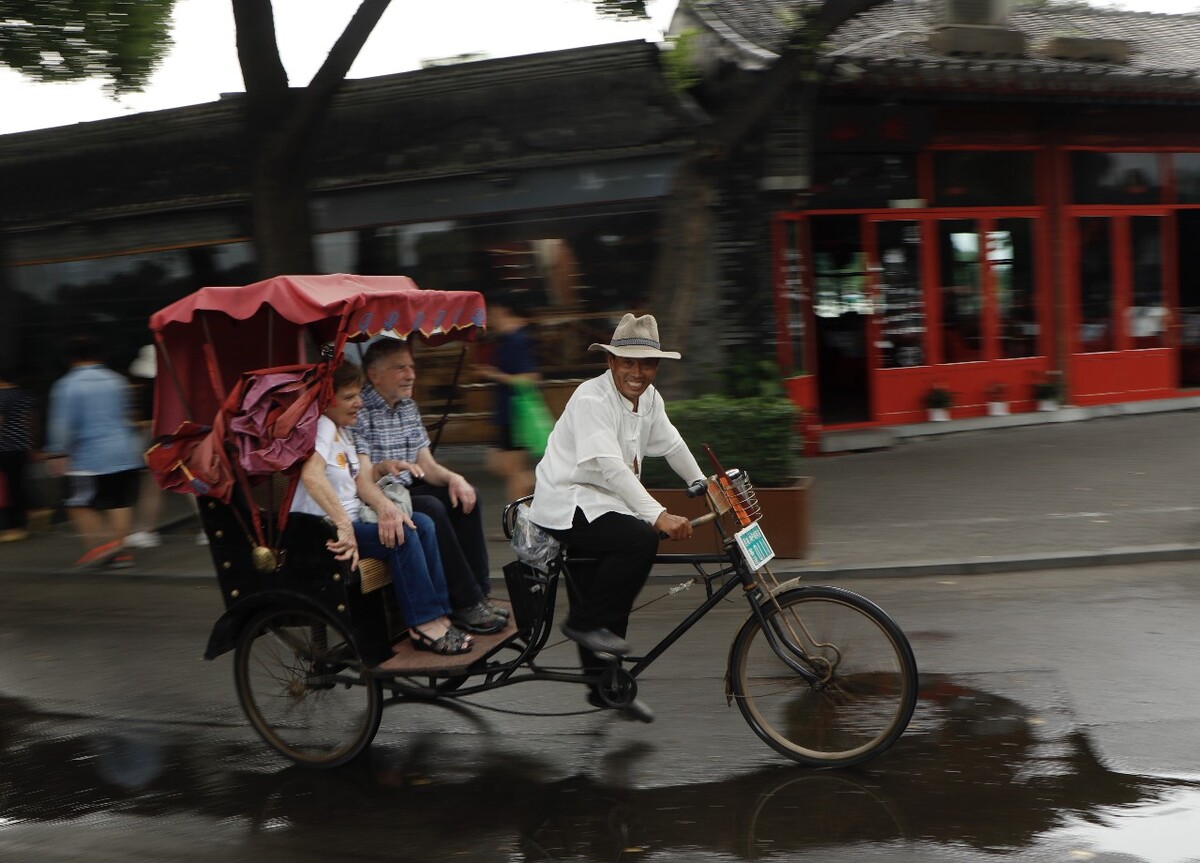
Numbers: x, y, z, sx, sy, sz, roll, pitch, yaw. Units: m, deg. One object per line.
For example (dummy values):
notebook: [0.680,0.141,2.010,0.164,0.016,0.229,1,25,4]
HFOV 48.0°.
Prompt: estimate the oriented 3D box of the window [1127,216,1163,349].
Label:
window: [7.489,-2.008,18.655,0.795,2.014,0.150,-8,10,-26]

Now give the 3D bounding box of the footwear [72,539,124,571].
footwear: [-4.866,1.185,12.833,0.627,0.168,0.179,-17,45,-4]

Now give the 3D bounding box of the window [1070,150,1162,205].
window: [6.907,-3.460,18.234,1.383,0.488,0.043,-3,7,-23]

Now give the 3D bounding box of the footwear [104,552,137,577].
footwear: [-4.602,1.226,12.838,0.322,0.131,0.155,-9,-1,13]

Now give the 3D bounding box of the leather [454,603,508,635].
leather: [-0.787,1.251,8.960,0.479,0.127,0.157,0,14,9]

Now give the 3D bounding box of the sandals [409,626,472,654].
sandals: [-1.045,1.359,8.773,0.366,0.078,0.201,0,6,16]

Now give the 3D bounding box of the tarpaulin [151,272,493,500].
tarpaulin: [-1.924,-0.518,9.458,2.088,0.948,1.975,-9,6,-2]

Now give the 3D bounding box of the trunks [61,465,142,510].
trunks: [-4.823,0.582,13.161,0.969,0.423,0.479,2,-5,-32]

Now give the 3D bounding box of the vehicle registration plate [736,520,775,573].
vehicle registration plate: [0.981,0.723,8.510,0.283,0.304,0.131,-5,5,-44]

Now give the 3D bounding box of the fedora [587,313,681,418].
fedora: [0.219,-0.449,8.641,0.505,0.609,0.303,-2,4,0]

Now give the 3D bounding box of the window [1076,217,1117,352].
window: [6.606,-1.933,18.353,0.840,2.212,0.254,-14,16,-30]

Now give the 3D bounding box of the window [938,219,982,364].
window: [4.669,-1.828,17.773,0.912,1.834,0.233,-7,10,-27]

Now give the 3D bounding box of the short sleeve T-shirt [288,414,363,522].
short sleeve T-shirt: [-1.802,0.251,8.679,0.681,0.630,0.855,1,4,-3]

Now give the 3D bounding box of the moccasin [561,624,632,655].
moccasin: [-0.014,1.341,8.677,0.465,0.126,0.147,9,-5,15]
